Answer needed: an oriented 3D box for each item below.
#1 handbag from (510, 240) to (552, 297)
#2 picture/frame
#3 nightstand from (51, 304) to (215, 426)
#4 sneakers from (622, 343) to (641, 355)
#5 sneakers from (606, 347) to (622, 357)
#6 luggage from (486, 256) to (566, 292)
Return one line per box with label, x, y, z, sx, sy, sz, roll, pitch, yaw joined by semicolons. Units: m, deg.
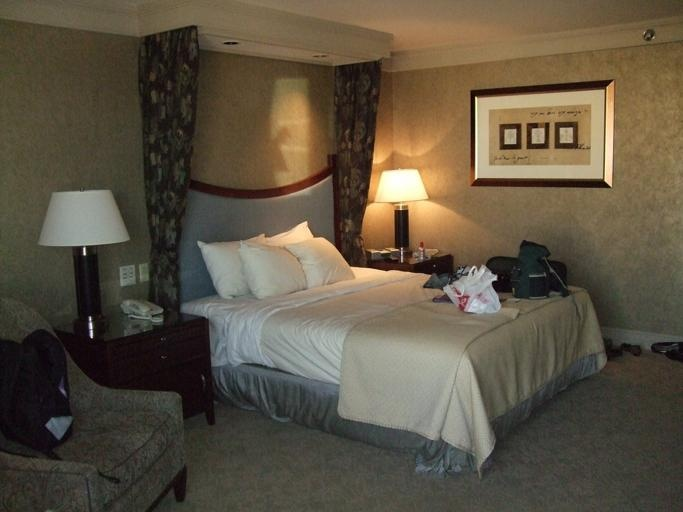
handbag;1.562;0.123;4.773;0.274;0.515;0.384;1;-5;7
picture/frame;2.182;-1.331;6.016;1.134;0.890;0.048;4;9;33
nightstand;-1.565;0.819;4.444;0.836;0.823;0.919;-9;17;-37
sneakers;2.876;0.913;5.639;0.109;0.040;0.112;8;18;39
sneakers;2.653;0.932;5.530;0.092;0.039;0.123;3;9;37
luggage;1.711;0.146;5.409;0.595;0.262;0.362;2;6;32
